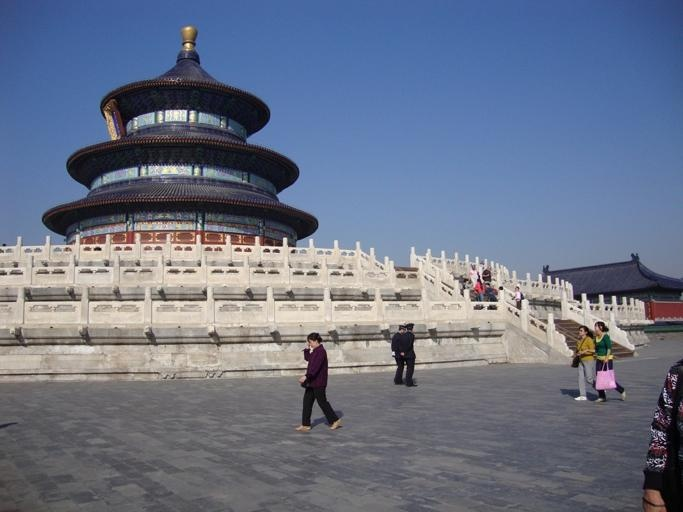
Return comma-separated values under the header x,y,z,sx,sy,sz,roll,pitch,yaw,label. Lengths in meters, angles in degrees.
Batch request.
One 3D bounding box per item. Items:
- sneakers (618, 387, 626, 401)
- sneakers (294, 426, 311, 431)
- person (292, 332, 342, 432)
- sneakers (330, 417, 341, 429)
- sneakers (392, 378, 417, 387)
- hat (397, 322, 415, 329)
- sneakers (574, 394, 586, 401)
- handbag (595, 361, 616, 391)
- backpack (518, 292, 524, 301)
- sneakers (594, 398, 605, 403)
x,y,z,sx,sy,sz,roll,pitch,yaw,label
6.382,3.137,11.954,0.161,0.344,0.121,-8,12,-21,sneakers
-0.673,3.053,9.339,0.222,0.089,0.092,6,-10,-10,sneakers
-0.401,2.268,9.687,0.778,1.678,0.862,0,-4,0,person
-0.098,2.990,9.542,0.203,0.181,0.507,-1,-4,5,sneakers
1.699,3.418,14.159,0.210,0.258,0.652,11,-23,-39,sneakers
1.997,2.143,16.273,0.546,0.178,0.528,0,-4,3,hat
5.324,3.153,11.685,0.299,0.120,0.107,-7,-11,29,sneakers
5.847,2.648,11.620,0.408,0.626,0.486,-2,-5,27,handbag
8.362,1.855,24.443,0.214,0.282,0.319,-17,-53,9,backpack
5.725,3.159,11.593,0.201,0.066,0.359,-2,-5,25,sneakers
